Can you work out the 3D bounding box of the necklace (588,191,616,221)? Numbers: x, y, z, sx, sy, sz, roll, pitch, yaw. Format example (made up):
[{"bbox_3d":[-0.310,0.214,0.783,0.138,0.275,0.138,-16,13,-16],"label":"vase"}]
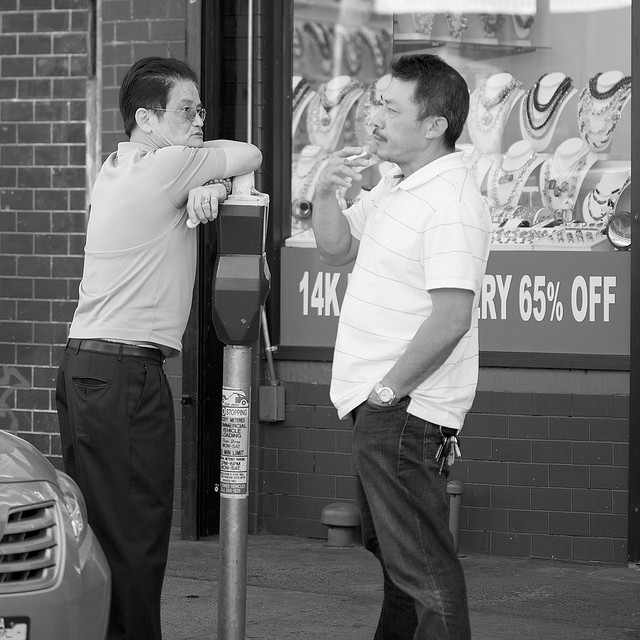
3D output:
[{"bbox_3d":[1.448,-0.577,6.901,0.107,0.103,0.025,-28,15,-20],"label":"necklace"}]

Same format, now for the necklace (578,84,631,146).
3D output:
[{"bbox_3d":[1.504,-1.066,6.923,0.053,0.311,0.223,10,0,-44],"label":"necklace"}]

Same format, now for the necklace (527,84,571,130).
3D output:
[{"bbox_3d":[1.192,-1.166,7.156,0.195,0.241,0.050,-2,-12,38],"label":"necklace"}]

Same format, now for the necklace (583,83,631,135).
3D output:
[{"bbox_3d":[1.470,-1.118,7.014,0.014,0.253,0.198,17,-19,-33],"label":"necklace"}]

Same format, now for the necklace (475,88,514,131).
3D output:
[{"bbox_3d":[0.950,-1.149,7.211,0.162,0.217,0.009,22,6,38],"label":"necklace"}]

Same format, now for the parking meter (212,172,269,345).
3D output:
[{"bbox_3d":[-0.256,-0.212,4.295,0.203,0.559,0.180,1,7,-15],"label":"parking meter"}]

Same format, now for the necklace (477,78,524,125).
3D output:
[{"bbox_3d":[0.954,-1.215,7.217,0.212,0.263,0.108,7,-4,19],"label":"necklace"}]

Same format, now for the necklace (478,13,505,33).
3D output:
[{"bbox_3d":[0.942,-1.630,7.213,0.099,0.102,0.024,-4,8,22],"label":"necklace"}]

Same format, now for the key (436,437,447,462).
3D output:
[{"bbox_3d":[0.392,0.413,4.277,0.012,0.094,0.012,38,-15,-8],"label":"key"}]

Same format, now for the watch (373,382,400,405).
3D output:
[{"bbox_3d":[0.214,0.232,4.220,0.069,0.057,0.022,36,40,14],"label":"watch"}]

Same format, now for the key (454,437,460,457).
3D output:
[{"bbox_3d":[0.453,0.422,4.355,0.017,0.078,0.020,-5,-4,-6],"label":"key"}]

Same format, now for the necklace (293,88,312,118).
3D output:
[{"bbox_3d":[-0.085,-1.218,7.317,0.116,0.158,0.014,-2,4,-35],"label":"necklace"}]

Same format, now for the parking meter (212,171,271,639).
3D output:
[{"bbox_3d":[-0.256,0.289,4.325,0.178,1.532,0.285,1,4,-1],"label":"parking meter"}]

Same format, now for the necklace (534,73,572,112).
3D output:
[{"bbox_3d":[1.244,-1.231,7.100,0.180,0.208,0.050,24,2,36],"label":"necklace"}]

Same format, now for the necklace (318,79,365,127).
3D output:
[{"bbox_3d":[0.189,-1.243,7.372,0.087,0.217,0.257,32,-44,-14],"label":"necklace"}]

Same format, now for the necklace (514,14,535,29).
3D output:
[{"bbox_3d":[1.108,-1.626,7.152,0.064,0.079,0.021,-10,-33,1],"label":"necklace"}]

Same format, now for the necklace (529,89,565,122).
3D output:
[{"bbox_3d":[1.195,-1.162,7.108,0.144,0.171,0.041,11,16,37],"label":"necklace"}]

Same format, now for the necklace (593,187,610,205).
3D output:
[{"bbox_3d":[1.443,-0.654,6.901,0.079,0.076,0.018,-4,0,32],"label":"necklace"}]

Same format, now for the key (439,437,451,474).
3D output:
[{"bbox_3d":[0.415,0.423,4.304,0.020,0.150,0.020,11,-10,19],"label":"key"}]

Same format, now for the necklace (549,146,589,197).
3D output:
[{"bbox_3d":[1.328,-0.792,7.038,0.158,0.330,0.032,25,1,23],"label":"necklace"}]

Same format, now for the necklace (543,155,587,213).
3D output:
[{"bbox_3d":[1.288,-0.740,7.050,0.209,0.290,0.059,5,7,21],"label":"necklace"}]

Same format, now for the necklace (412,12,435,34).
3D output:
[{"bbox_3d":[0.581,-1.648,7.300,0.104,0.118,0.025,-3,11,13],"label":"necklace"}]
